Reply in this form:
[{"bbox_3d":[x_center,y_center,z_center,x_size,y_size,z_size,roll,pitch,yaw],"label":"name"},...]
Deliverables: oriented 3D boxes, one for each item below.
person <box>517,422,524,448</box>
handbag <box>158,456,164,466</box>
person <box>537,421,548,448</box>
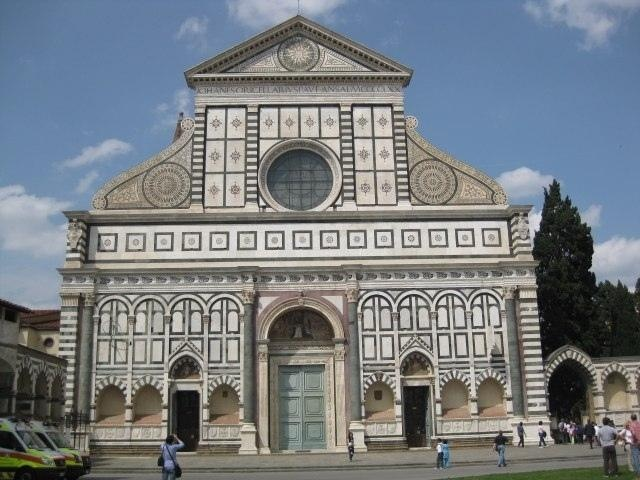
[{"bbox_3d":[10.083,9.770,42.774,0.358,1.215,0.635,-4,-15,12],"label":"person"},{"bbox_3d":[-5.495,7.589,29.358,0.156,0.275,0.279,3,-16,-15],"label":"handbag"},{"bbox_3d":[11.170,9.740,42.854,0.445,1.255,0.669,-5,-16,16],"label":"person"}]
